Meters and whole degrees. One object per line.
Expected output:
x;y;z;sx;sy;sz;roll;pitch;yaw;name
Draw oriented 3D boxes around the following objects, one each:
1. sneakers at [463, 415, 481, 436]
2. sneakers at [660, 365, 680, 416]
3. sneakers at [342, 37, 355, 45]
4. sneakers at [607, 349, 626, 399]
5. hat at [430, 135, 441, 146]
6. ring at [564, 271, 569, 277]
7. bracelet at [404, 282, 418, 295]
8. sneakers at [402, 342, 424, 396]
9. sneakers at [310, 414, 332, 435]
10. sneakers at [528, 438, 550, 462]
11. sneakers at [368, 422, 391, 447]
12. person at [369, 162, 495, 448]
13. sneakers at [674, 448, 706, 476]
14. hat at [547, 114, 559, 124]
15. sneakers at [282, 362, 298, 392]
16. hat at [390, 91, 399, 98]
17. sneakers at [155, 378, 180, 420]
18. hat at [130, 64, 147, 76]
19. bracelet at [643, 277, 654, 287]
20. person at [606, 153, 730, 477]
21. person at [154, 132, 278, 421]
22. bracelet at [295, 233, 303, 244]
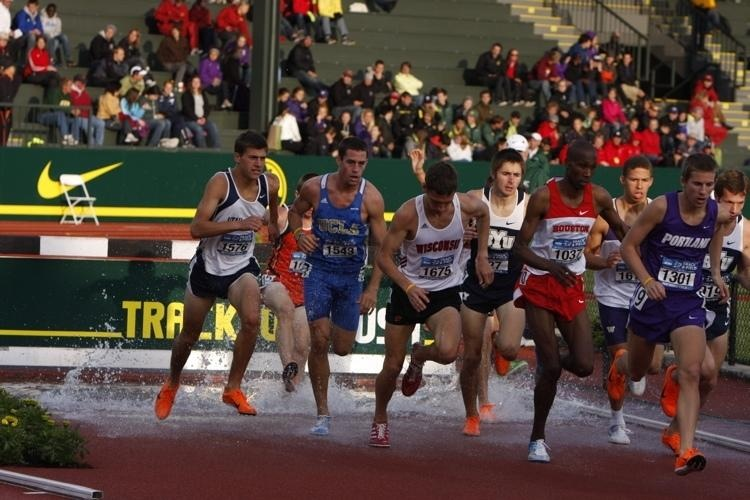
1.121;2.027;11.655;0.166;0.182;0.432;0;-10;3;sneakers
3.260;1.637;11.198;0.227;0.677;0.278;-1;11;10;sneakers
-0.776;-6.057;29.290;0.362;0.271;0.196;-5;13;-9;sneakers
2.776;1.439;11.633;0.181;0.595;0.226;2;8;17;sneakers
1.493;-2.681;24.813;0.268;0.237;0.179;1;12;-7;hat
2.030;0.248;10.645;0.023;0.061;0.098;11;15;38;ring
0.375;0.423;10.893;0.117;0.104;0.126;2;12;-1;bracelet
0.440;1.453;11.692;0.216;0.684;0.260;13;14;-3;sneakers
-0.602;2.006;11.550;0.257;0.186;0.131;8;-6;-33;sneakers
1.729;2.112;10.644;0.223;0.228;0.161;4;12;9;sneakers
0.049;2.032;11.127;0.237;0.273;0.300;2;12;-1;sneakers
0.597;0.553;11.234;1.360;3.137;0.879;-1;12;-12;person
3.025;2.068;9.832;0.159;0.186;0.388;2;-20;-20;sneakers
4.590;-3.354;25.870;0.240;0.187;0.250;-1;2;-3;hat
-1.070;1.601;12.747;0.147;0.430;0.175;2;12;-7;sneakers
0.492;-3.847;25.083;0.158;0.131;0.159;-6;11;-35;hat
-2.393;1.758;11.681;0.192;0.584;0.219;18;-24;-20;sneakers
-5.454;-4.158;23.469;0.398;0.156;0.248;-5;15;-44;hat
2.782;0.331;10.293;0.095;0.039;0.095;-34;-18;37;bracelet
2.927;0.508;10.255;0.920;2.896;1.219;5;12;14;person
-1.782;0.358;11.617;1.328;3.413;1.087;0;11;-7;person
-0.845;-0.139;11.277;0.124;0.130;0.033;-5;6;-37;bracelet
